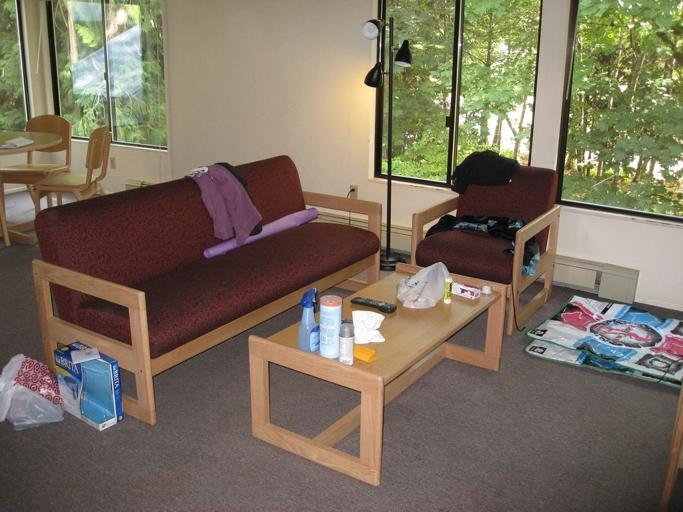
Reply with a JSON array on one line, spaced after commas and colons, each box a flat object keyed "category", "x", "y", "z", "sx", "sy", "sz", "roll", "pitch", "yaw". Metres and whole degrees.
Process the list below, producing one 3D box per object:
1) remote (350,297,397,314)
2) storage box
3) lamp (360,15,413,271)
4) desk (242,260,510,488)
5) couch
[{"category": "remote", "x": 0.188, "y": 0.264, "z": 2.996, "sx": 0.234, "sy": 0.041, "sz": 0.092, "roll": 13, "pitch": 23, "yaw": 32}, {"category": "storage box", "x": -1.273, "y": 0.670, "z": 2.799, "sx": 0.376, "sy": 0.343, "sz": 0.124, "roll": 18, "pitch": 26, "yaw": 39}, {"category": "lamp", "x": 0.366, "y": -1.023, "z": 4.525, "sx": 0.407, "sy": 1.637, "sz": 0.308, "roll": 1, "pitch": 14, "yaw": 1}, {"category": "desk", "x": 0.229, "y": 0.555, "z": 2.951, "sx": 0.712, "sy": 0.616, "sz": 1.318, "roll": 16, "pitch": 23, "yaw": 38}, {"category": "couch", "x": -0.729, "y": 0.239, "z": 3.184, "sx": 0.731, "sy": 0.723, "sz": 1.660, "roll": 16, "pitch": 27, "yaw": 33}]
